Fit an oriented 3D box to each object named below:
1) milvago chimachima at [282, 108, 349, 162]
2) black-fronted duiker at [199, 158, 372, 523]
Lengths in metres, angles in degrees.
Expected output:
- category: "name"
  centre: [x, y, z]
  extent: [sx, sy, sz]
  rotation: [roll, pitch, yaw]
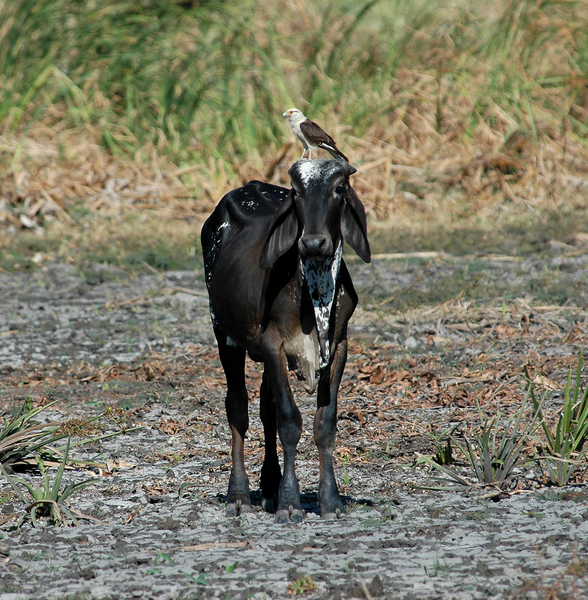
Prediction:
- category: "milvago chimachima"
  centre: [0.135, -1.431, 10.110]
  extent: [0.398, 0.400, 1.793]
  rotation: [-4, 11, 0]
- category: "black-fronted duiker"
  centre: [-0.020, 0.274, 6.649]
  extent: [0.724, 1.993, 2.538]
  rotation: [-1, 0, -12]
